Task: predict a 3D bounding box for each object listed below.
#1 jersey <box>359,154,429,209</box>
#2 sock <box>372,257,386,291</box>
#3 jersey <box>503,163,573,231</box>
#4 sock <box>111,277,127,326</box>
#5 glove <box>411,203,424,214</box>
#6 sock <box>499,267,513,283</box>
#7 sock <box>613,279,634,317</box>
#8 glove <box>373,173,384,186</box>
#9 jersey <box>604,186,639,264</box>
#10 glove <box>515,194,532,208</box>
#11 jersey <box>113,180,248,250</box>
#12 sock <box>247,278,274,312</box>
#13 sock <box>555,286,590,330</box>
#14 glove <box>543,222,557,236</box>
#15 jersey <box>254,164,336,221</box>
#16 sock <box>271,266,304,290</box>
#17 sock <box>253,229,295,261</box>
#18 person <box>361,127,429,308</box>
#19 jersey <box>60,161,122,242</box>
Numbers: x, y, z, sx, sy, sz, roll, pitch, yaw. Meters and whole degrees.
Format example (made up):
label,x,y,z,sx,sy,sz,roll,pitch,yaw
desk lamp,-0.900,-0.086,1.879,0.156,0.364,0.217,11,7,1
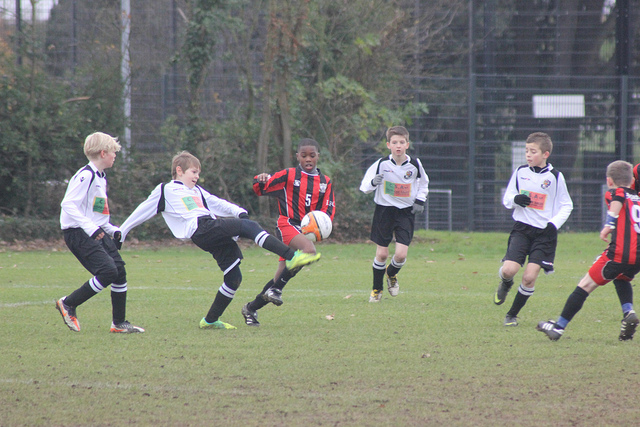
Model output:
label,x,y,z,sx,sy,sz,roll,pitch,yaw
jersey,1.821,-0.703,25.540,1.333,1.179,0.322,3,3,3
sock,1.390,1.371,25.483,0.289,0.746,0.372,3,3,3
jersey,4.754,-0.416,24.083,1.516,1.479,0.806,13,12,33
sock,-4.259,1.873,23.635,0.306,0.975,0.249,2,3,-13
glove,2.257,-0.106,25.388,0.263,0.246,0.300,3,3,1
sock,4.104,1.333,24.158,0.366,0.342,0.209,2,4,-16
sock,6.434,1.754,23.312,0.323,0.752,0.490,2,4,-20
glove,1.387,-0.753,25.319,0.170,0.231,0.319,5,4,31
jersey,6.379,0.235,23.290,0.744,1.589,0.408,4,4,14
glove,4.410,-0.264,23.915,0.364,0.254,0.083,4,3,6
jersey,-2.899,-0.050,23.590,2.442,1.251,0.528,3,3,-11
sock,-1.250,1.765,23.994,0.547,0.695,0.380,2,4,-18
sock,5.455,2.049,23.833,0.331,1.107,0.352,36,-4,-13
glove,4.940,0.364,23.783,0.259,0.231,0.254,-19,-1,-19
jersey,-0.488,-0.267,24.571,1.875,1.568,1.021,8,2,-18
sock,-0.718,1.384,23.790,0.555,0.487,0.363,3,3,-1
sock,-0.978,0.708,24.976,1.088,0.358,0.319,31,37,-5
person,1.720,0.041,25.463,1.401,3.972,0.736,3,3,2
jersey,-4.826,-0.251,23.578,1.202,1.632,0.486,2,3,-12
